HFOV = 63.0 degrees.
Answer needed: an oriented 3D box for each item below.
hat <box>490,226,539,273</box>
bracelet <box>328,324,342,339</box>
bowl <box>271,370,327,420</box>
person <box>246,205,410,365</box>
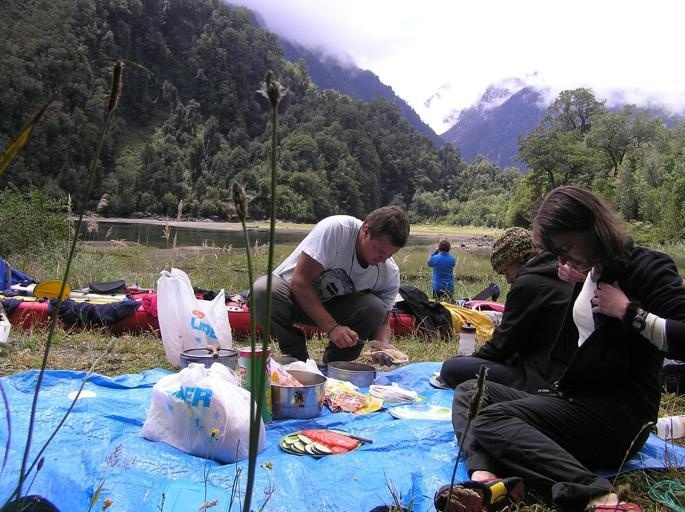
[{"bbox_3d":[1.289,-0.051,4.202,0.332,0.383,0.291,-2,2,35],"label":"hat"},{"bbox_3d":[-0.069,0.613,4.512,0.096,0.122,0.176,4,3,-3],"label":"bracelet"},{"bbox_3d":[-0.311,0.995,3.940,0.320,0.279,0.379,6,3,11],"label":"bowl"},{"bbox_3d":[-0.098,0.243,4.813,1.203,1.436,0.882,5,3,0],"label":"person"}]
